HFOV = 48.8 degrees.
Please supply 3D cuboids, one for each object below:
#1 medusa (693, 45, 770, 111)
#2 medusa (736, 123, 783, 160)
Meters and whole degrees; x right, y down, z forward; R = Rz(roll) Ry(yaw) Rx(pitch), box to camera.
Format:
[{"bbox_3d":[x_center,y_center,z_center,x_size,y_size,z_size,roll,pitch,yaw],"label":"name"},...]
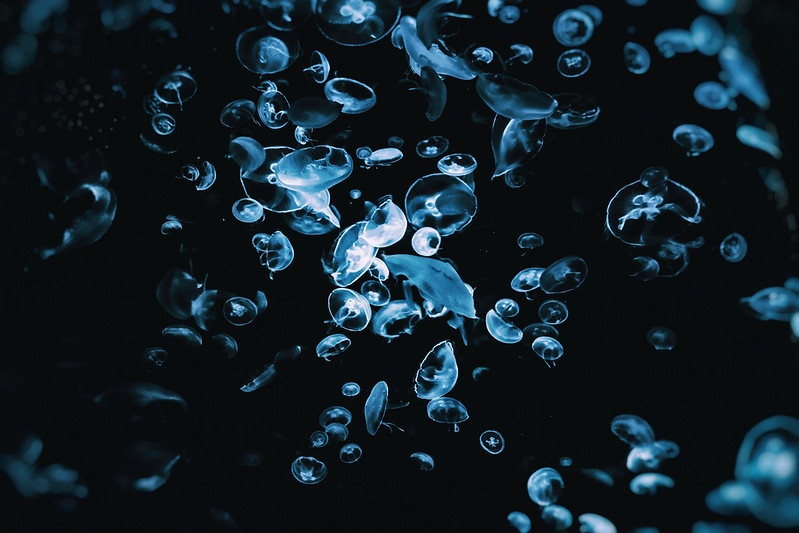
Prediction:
[{"bbox_3d":[2.022,-1.145,5.267,0.406,0.223,0.135,51,15,3],"label":"medusa"},{"bbox_3d":[2.128,-0.729,5.279,0.319,0.170,0.111,6,55,-53],"label":"medusa"}]
